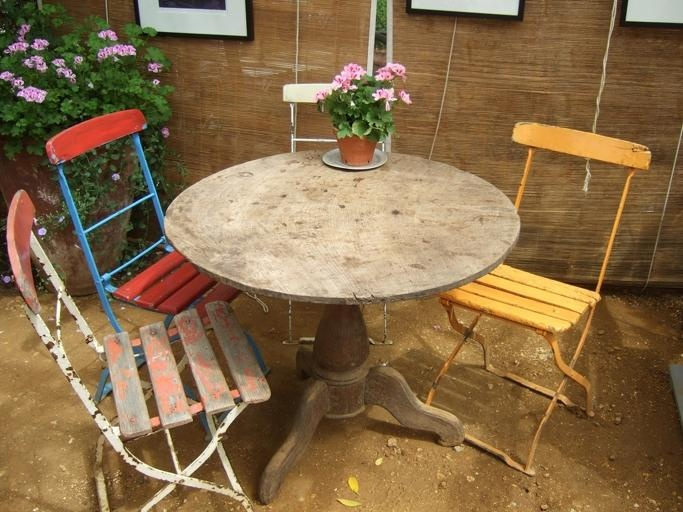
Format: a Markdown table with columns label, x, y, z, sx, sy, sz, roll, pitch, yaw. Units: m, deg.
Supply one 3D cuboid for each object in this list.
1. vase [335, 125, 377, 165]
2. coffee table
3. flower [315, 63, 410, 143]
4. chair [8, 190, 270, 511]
| label | x | y | z | sx | sy | sz | roll | pitch | yaw |
| --- | --- | --- | --- | --- | --- | --- | --- | --- | --- |
| vase | 0.053 | -0.612 | 2.846 | 0.251 | 0.180 | 0.238 | 15 | 10 | 7 |
| coffee table | -0.017 | 0.435 | 2.877 | 1.730 | 1.254 | 1.672 | 3 | 32 | 2 |
| flower | 0.104 | -0.813 | 2.673 | 0.476 | 0.389 | 0.263 | 3 | 30 | -3 |
| chair | -1.055 | 0.525 | 2.623 | 0.988 | 1.473 | 0.872 | -10 | 45 | -17 |
